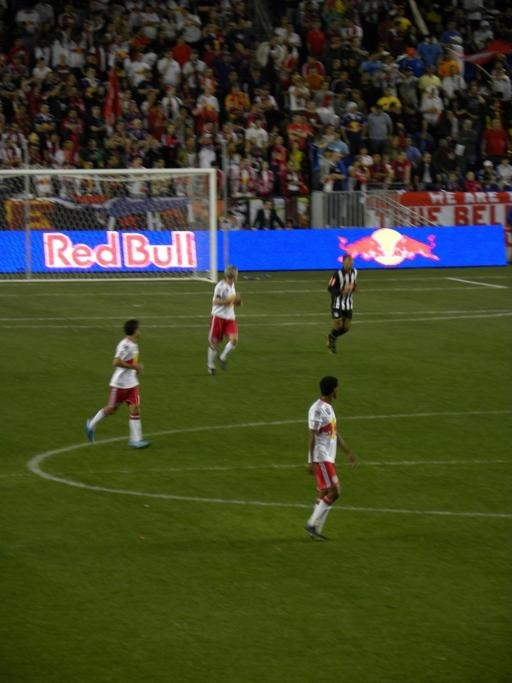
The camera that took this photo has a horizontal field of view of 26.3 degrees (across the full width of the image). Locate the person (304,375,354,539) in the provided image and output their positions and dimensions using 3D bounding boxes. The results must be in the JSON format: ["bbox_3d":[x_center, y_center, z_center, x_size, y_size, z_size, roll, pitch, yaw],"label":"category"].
[{"bbox_3d":[0.626,1.004,9.419,0.421,1.396,0.682,-2,11,4],"label":"person"}]

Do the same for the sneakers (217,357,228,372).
[{"bbox_3d":[-0.510,0.355,16.615,0.191,0.198,0.488,0,-10,-5],"label":"sneakers"}]

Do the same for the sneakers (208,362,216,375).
[{"bbox_3d":[-0.644,0.408,16.433,0.155,0.203,0.150,2,-4,8],"label":"sneakers"}]
